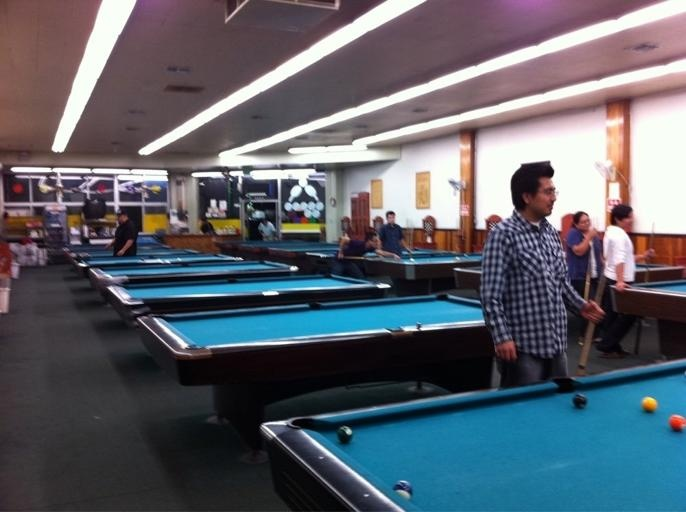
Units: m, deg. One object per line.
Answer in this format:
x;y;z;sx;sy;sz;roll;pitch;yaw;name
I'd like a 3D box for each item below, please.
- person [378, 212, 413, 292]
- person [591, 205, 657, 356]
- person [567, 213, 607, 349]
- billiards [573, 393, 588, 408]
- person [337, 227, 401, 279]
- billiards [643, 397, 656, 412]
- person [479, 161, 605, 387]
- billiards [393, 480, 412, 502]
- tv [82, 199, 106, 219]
0.975;-0.083;8.966;0.684;1.442;0.461;-4;14;-2;person
3.119;0.278;5.335;0.528;1.663;0.505;1;4;28;person
2.798;0.222;5.783;0.485;1.469;0.444;3;5;-34;person
0.994;0.595;2.038;0.049;0.047;0.056;-10;6;-18;billiards
0.363;-0.041;7.892;0.822;0.812;0.700;-4;13;-33;person
1.249;0.594;1.967;0.052;0.058;0.054;-2;-5;3;billiards
1.105;0.127;2.636;0.584;1.322;0.516;0;0;36;person
0.182;0.677;1.418;0.036;0.043;0.046;-14;40;-35;billiards
-8.637;-1.623;16.844;0.745;0.695;0.676;1;-8;-21;tv
